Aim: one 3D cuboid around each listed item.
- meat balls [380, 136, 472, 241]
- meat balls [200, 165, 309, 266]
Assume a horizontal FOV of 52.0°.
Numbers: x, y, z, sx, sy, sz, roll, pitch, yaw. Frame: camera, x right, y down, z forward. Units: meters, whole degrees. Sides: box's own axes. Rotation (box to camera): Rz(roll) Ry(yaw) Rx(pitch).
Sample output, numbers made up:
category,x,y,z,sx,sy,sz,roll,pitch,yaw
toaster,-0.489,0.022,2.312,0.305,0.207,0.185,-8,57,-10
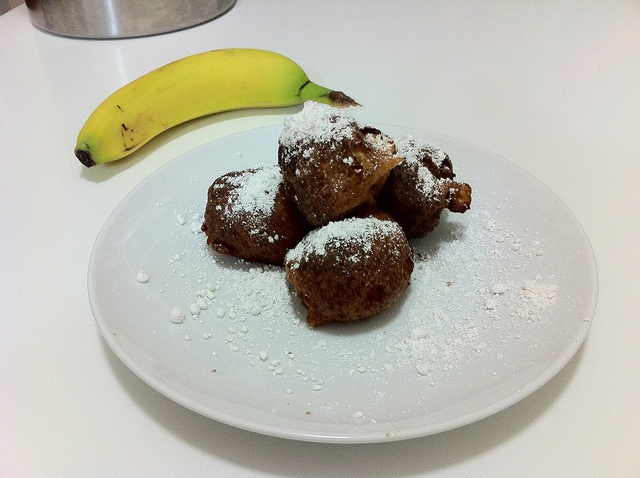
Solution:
category,x,y,z,sx,sy,sz,roll,pitch,yaw
meat balls,0.310,-0.160,1.913,0.224,0.134,0.288,28,50,14
meat balls,-0.185,-0.094,1.973,0.263,0.318,0.288,-5,19,2
